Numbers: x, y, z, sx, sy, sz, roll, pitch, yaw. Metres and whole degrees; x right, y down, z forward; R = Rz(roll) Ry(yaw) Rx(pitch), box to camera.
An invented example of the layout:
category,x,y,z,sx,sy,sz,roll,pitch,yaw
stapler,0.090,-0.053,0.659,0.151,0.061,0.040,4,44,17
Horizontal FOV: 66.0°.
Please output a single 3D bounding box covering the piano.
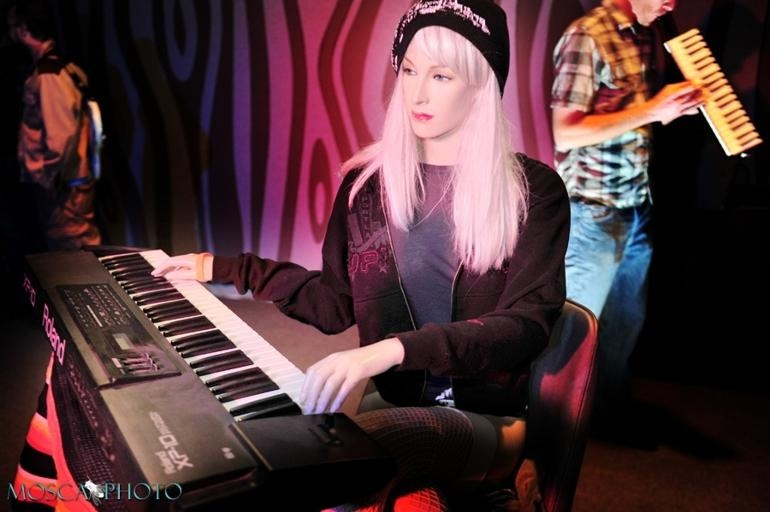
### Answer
category,x,y,z,sx,sy,sz,roll,pitch,yaw
piano,-0.543,0.003,1.581,0.557,0.214,1.262,-10,32,-35
